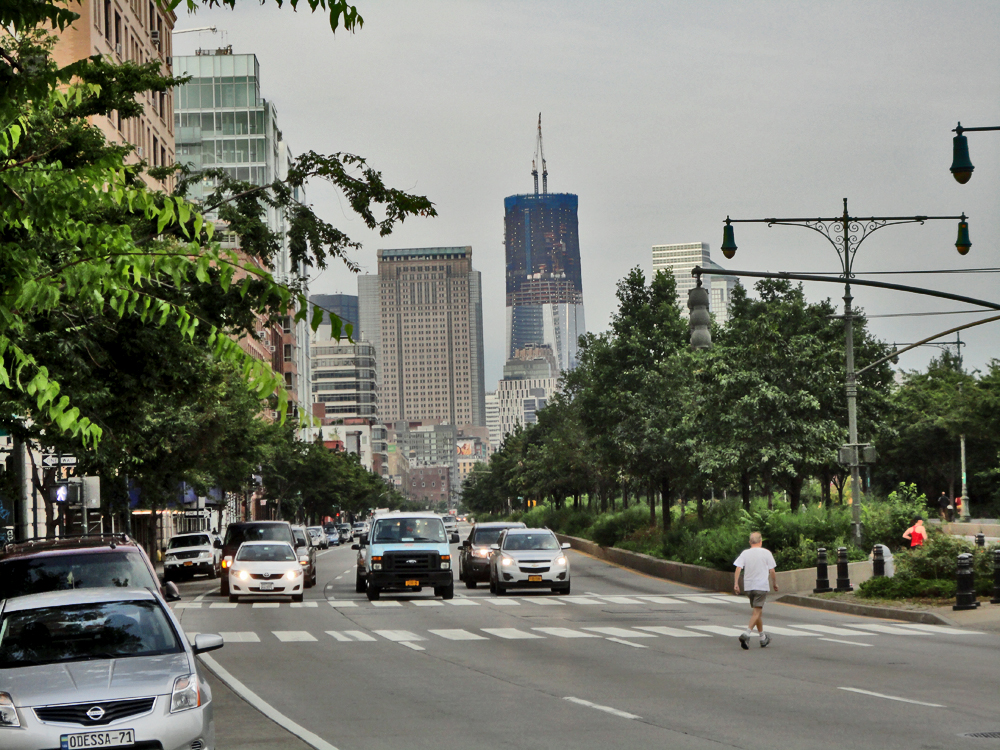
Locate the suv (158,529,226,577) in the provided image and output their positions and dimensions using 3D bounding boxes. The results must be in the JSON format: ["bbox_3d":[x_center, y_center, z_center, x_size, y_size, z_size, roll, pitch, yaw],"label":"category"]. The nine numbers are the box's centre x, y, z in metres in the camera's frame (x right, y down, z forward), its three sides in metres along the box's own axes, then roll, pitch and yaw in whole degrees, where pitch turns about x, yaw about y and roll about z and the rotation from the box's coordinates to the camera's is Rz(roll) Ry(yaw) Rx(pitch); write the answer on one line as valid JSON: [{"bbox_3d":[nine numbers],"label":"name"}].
[{"bbox_3d":[-10.874,6.299,58.105,1.177,1.192,2.829,0,-10,-2],"label":"suv"}]

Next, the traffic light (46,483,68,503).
[{"bbox_3d":[-11.284,2.995,41.961,0.534,0.757,0.800,1,-4,-10],"label":"traffic light"}]

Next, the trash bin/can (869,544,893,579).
[{"bbox_3d":[9.219,4.549,40.032,0.336,0.274,1.085,-9,-45,5],"label":"trash bin/can"}]
